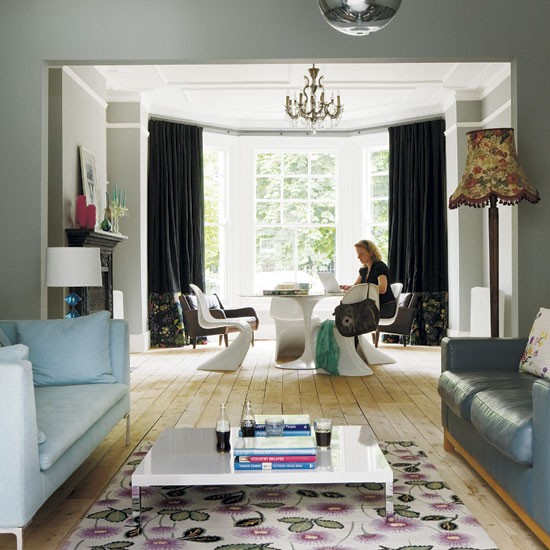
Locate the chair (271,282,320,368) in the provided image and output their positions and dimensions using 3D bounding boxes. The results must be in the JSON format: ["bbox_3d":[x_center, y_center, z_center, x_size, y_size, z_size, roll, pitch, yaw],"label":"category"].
[{"bbox_3d":[0.352,0.631,5.325,0.673,0.819,0.708,0,4,4],"label":"chair"}]

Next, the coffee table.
[{"bbox_3d":[-0.049,0.829,2.005,1.003,0.186,0.630,0,-2,0],"label":"coffee table"}]

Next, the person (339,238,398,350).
[{"bbox_3d":[1.154,0.025,5.434,0.785,1.304,0.806,0,-4,5],"label":"person"}]

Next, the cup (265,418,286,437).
[{"bbox_3d":[0.000,0.648,1.996,0.064,0.053,0.066,1,-5,0],"label":"cup"}]

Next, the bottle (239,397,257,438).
[{"bbox_3d":[-0.116,0.646,2.049,0.061,0.198,0.062,1,4,0],"label":"bottle"}]

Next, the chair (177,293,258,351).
[{"bbox_3d":[-0.798,0.628,6.753,0.869,0.863,0.825,0,-2,10],"label":"chair"}]

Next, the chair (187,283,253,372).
[{"bbox_3d":[-0.582,0.569,5.418,0.636,0.957,0.567,-4,-3,0],"label":"chair"}]

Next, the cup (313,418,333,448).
[{"bbox_3d":[0.205,0.681,2.048,0.094,0.126,0.106,-1,-1,5],"label":"cup"}]

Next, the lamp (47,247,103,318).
[{"bbox_3d":[-1.538,0.098,3.628,0.371,0.635,0.383,-1,0,-9],"label":"lamp"}]

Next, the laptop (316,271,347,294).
[{"bbox_3d":[0.638,0.078,5.436,0.232,0.302,0.293,-20,6,-41],"label":"laptop"}]

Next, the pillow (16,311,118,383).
[{"bbox_3d":[-1.101,0.404,2.545,0.352,0.350,0.135,-1,-18,-16],"label":"pillow"}]

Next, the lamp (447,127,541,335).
[{"bbox_3d":[1.540,-0.333,3.340,0.549,1.541,0.647,-1,-2,29],"label":"lamp"}]

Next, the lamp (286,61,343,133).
[{"bbox_3d":[0.458,-2.181,5.740,0.649,0.904,0.696,2,5,2],"label":"lamp"}]

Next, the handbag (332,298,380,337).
[{"bbox_3d":[0.798,0.422,4.679,0.382,0.378,0.143,-7,4,3],"label":"handbag"}]
